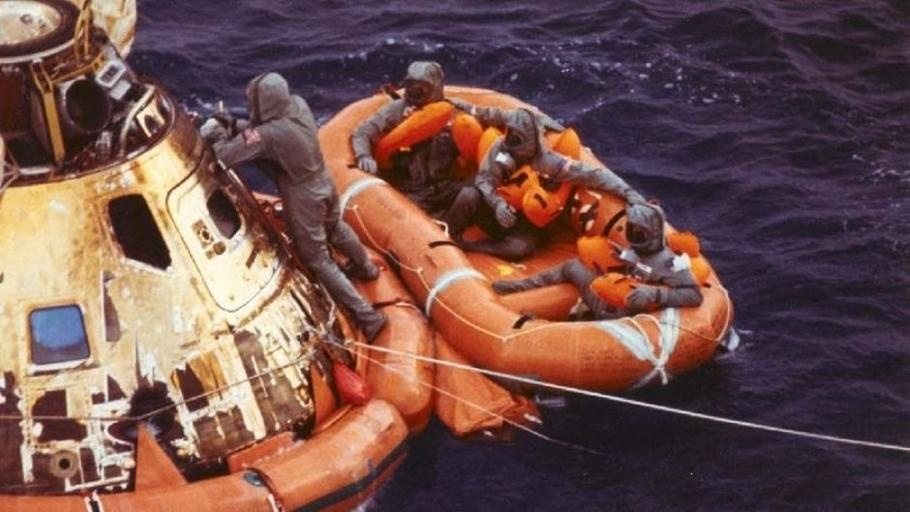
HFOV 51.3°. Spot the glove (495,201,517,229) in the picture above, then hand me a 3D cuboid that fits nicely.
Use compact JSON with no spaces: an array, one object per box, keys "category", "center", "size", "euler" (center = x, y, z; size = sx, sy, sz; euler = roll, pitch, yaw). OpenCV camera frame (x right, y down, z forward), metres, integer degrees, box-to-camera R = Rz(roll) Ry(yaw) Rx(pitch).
[{"category":"glove","center":[0.490,-0.404,9.089],"size":[0.266,0.202,0.098],"euler":[39,46,16]}]
